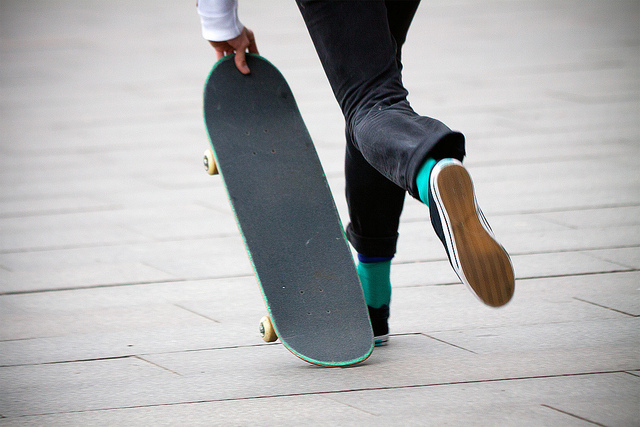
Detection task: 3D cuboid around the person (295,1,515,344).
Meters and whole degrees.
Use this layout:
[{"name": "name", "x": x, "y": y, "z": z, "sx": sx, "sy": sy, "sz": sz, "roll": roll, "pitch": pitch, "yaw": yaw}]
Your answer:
[{"name": "person", "x": 0.215, "y": -0.072, "z": 1.921, "sx": 0.464, "sy": 1.108, "sz": 0.845, "roll": -5, "pitch": 16, "yaw": -1}]

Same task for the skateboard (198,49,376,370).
[{"name": "skateboard", "x": -0.186, "y": -0.059, "z": 2.357, "sx": 0.457, "sy": 1.237, "sz": 0.234, "roll": -20, "pitch": -10, "yaw": -15}]
